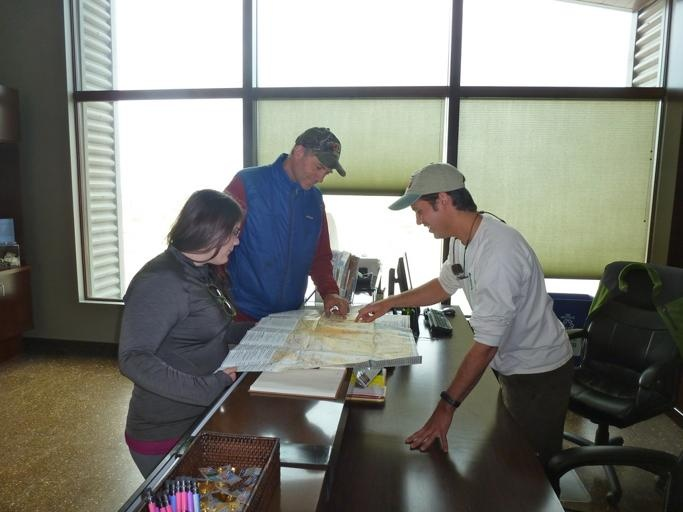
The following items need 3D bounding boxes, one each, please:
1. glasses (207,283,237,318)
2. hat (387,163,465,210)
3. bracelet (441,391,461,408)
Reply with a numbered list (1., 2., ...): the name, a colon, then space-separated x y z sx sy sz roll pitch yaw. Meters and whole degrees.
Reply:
1. glasses: -0.533 0.191 2.212 0.131 0.141 0.042 -18 33 19
2. hat: 0.427 -0.334 2.523 0.422 0.219 0.276 -7 -8 12
3. bracelet: 0.457 0.608 2.120 0.068 0.020 0.068 38 10 16
